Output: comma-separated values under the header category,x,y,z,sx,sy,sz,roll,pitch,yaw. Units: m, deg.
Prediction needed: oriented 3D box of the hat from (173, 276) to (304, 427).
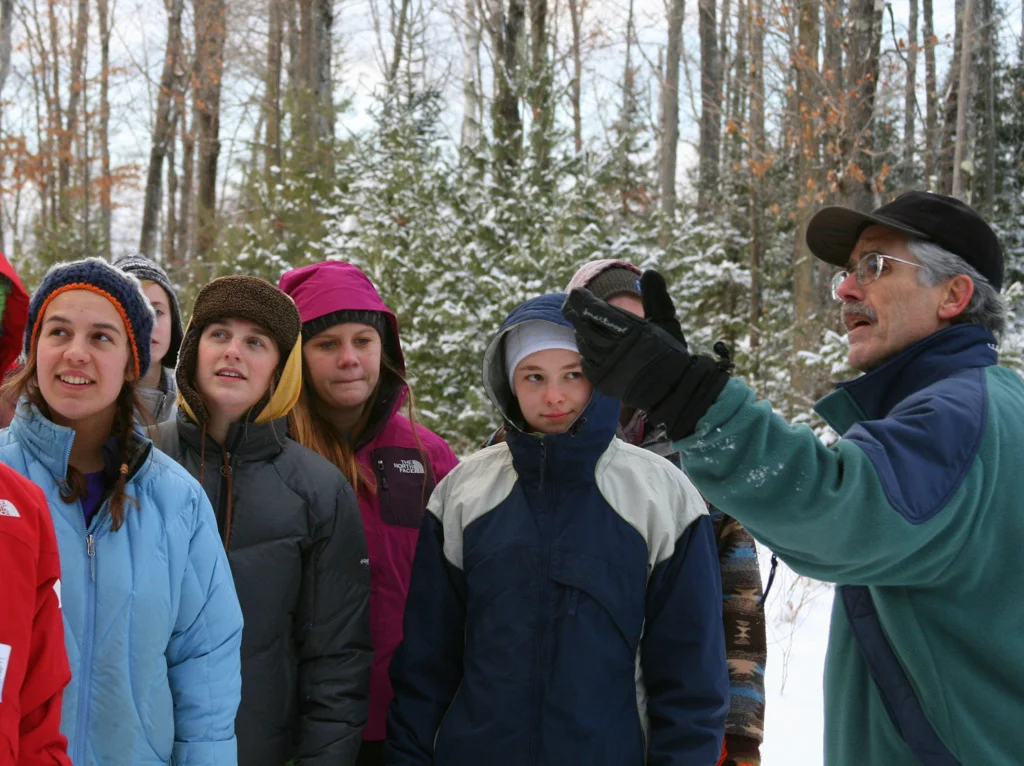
category,x,y,z,sx,sy,sz,roll,pitch,yaw
hat,-1.447,-0.179,6.770,0.582,0.683,0.719,16,-17,-34

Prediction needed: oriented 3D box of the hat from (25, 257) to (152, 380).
category,x,y,z,sx,sy,sz,roll,pitch,yaw
hat,-1.975,-0.248,6.184,0.432,0.533,0.585,2,-24,-9

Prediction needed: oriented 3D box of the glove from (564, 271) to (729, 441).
category,x,y,z,sx,sy,sz,roll,pitch,yaw
glove,0.572,-0.231,5.654,0.804,0.243,0.469,27,1,-18
